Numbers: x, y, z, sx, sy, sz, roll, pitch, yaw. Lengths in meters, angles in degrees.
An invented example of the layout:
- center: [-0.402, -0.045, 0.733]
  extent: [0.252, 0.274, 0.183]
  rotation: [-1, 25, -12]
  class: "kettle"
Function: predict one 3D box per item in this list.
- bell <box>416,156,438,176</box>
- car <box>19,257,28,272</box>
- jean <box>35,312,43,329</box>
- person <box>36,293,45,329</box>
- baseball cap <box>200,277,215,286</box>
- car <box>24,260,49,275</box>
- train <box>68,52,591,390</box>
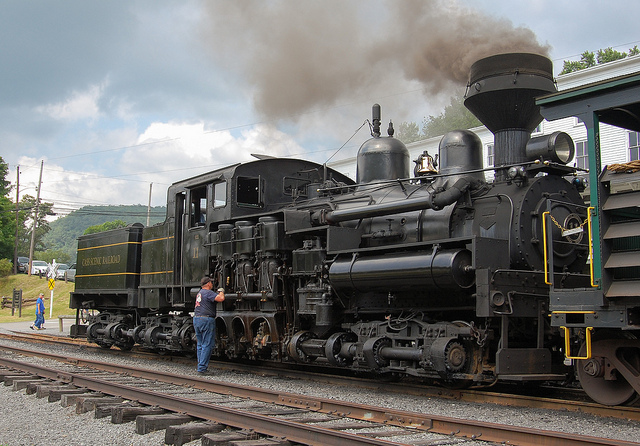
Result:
- center: [2.175, -1.102, 10.517]
  extent: [0.397, 0.374, 0.418]
  rotation: [-10, -18, 40]
  class: "bell"
- center: [-30.948, 4.307, 53.056]
  extent: [0.995, 0.881, 1.748]
  rotation: [2, -9, -31]
  class: "car"
- center: [-14.489, 5.025, 26.272]
  extent: [0.324, 0.839, 0.544]
  rotation: [5, -9, -27]
  class: "jean"
- center: [-14.364, 4.555, 26.131]
  extent: [0.288, 1.724, 0.835]
  rotation: [5, -9, -28]
  class: "person"
- center: [-2.748, 1.416, 12.402]
  extent: [0.225, 0.114, 0.154]
  rotation: [-11, 2, -21]
  class: "baseball cap"
- center: [-27.427, 4.377, 49.768]
  extent: [1.821, 1.252, 3.853]
  rotation: [4, -9, -40]
  class: "car"
- center: [-1.213, 0.681, 17.010]
  extent: [5.311, 7.394, 19.519]
  rotation: [3, -4, -40]
  class: "train"
